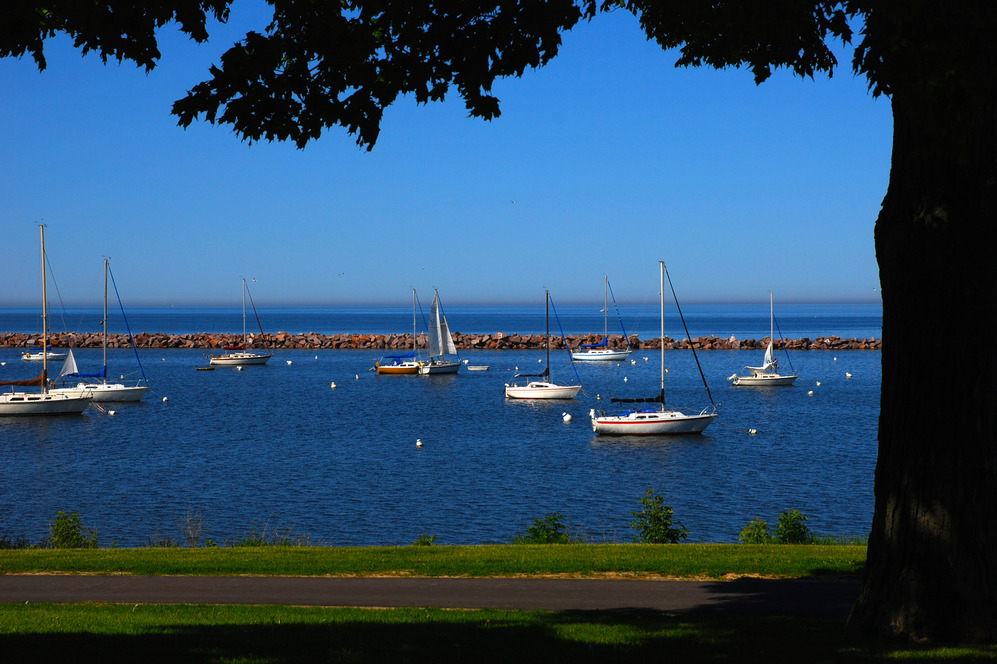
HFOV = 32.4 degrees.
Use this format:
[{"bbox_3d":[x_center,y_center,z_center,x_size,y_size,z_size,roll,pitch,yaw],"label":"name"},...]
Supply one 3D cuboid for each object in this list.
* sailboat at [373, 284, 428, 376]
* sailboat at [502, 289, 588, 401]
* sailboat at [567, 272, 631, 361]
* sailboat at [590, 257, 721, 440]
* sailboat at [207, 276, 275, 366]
[{"bbox_3d":[-8.017,0.384,143.954,5.524,6.357,1.875,-2,7,10],"label":"sailboat"},{"bbox_3d":[3.202,1.039,116.634,5.947,7.150,1.572,1,7,22],"label":"sailboat"},{"bbox_3d":[10.508,-1.239,169.324,6.466,8.058,1.749,0,10,-15],"label":"sailboat"},{"bbox_3d":[8.422,1.176,93.261,7.492,9.128,2.136,-1,4,20],"label":"sailboat"},{"bbox_3d":[-23.294,-0.637,157.329,6.251,7.542,1.882,0,7,-23],"label":"sailboat"}]
